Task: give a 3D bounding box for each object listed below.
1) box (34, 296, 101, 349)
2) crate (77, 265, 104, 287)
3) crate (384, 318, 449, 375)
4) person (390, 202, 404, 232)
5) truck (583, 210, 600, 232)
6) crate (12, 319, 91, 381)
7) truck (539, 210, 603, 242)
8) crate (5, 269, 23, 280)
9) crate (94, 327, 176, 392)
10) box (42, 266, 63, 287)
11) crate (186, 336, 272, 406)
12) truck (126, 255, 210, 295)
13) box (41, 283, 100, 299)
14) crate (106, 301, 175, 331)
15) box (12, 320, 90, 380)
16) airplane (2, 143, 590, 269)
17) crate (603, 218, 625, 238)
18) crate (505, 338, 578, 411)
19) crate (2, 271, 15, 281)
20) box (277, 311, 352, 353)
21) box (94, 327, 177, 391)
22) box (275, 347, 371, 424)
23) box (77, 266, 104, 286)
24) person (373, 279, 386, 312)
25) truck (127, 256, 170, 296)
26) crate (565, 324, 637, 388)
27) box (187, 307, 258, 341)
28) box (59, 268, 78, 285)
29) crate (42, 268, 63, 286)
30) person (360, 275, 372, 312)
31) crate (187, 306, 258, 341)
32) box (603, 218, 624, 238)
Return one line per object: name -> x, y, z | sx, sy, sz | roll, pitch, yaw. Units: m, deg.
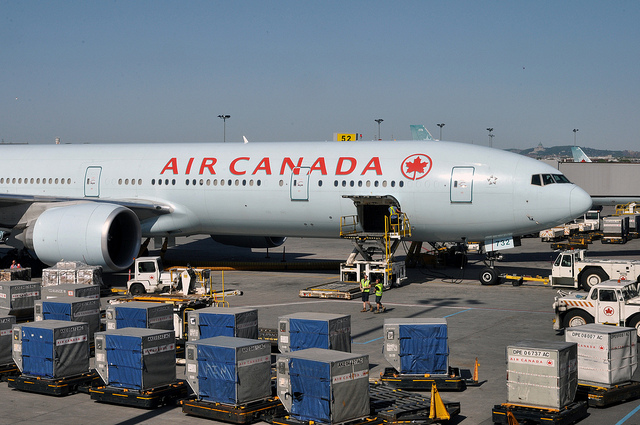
box -> -8.849, 3.922, 30.936 | 2.325, 1.698, 2.048 | -1, -4, 7
crate -> -9.812, 2.717, 37.399 | 1.015, 0.527, 0.911 | 0, 3, 8
crate -> 3.165, 4.087, 28.138 | 2.786, 1.791, 1.642 | 0, 4, 5
person -> 3.468, 0.222, 39.265 | 0.570, 0.990, 0.461 | -2, -1, 10
truck -> 19.480, 0.665, 62.571 | 1.985, 1.311, 2.593 | 1, 6, 20
crate -> -8.442, 4.340, 27.988 | 2.110, 1.521, 2.063 | -2, -3, 41
truck -> 17.831, 0.952, 62.841 | 4.853, 1.270, 1.638 | -10, 6, 13
crate -> -13.296, 2.718, 38.106 | 0.936, 0.384, 0.574 | -1, 4, -20
crate -> -5.499, 4.500, 26.996 | 2.196, 1.315, 2.124 | 1, 1, 34
box -> -11.470, 2.749, 37.624 | 1.088, 0.859, 0.732 | -3, -7, 15
crate -> -2.621, 4.703, 25.968 | 1.908, 2.129, 1.615 | 0, 0, 26
truck -> -6.318, 2.832, 37.816 | 4.310, 1.495, 1.475 | 0, 1, 34
box -> -9.223, 2.938, 32.620 | 1.333, 0.504, 0.883 | 0, -2, 4
crate -> -6.060, 3.628, 30.016 | 2.110, 0.806, 1.482 | -2, 0, 32
box -> -8.421, 4.361, 27.438 | 2.217, 1.688, 1.041 | -2, -1, -8
airplane -> 4.790, -0.710, 66.855 | 29.650, 6.307, 60.411 | -2, -1, 16
crate -> 20.209, 1.208, 59.744 | 1.302, 1.274, 2.138 | -2, 1, 32
crate -> 6.493, 4.736, 26.001 | 2.207, 1.685, 1.990 | 0, 1, 19
crate -> -13.525, 2.732, 38.136 | 0.674, 0.523, 0.422 | 0, -4, -10
box -> -0.167, 3.860, 27.825 | 3.407, 1.363, 0.607 | 2, 1, -8
box -> -5.788, 4.444, 26.703 | 2.177, 1.361, 2.143 | -1, -1, 39
box -> 0.208, 4.913, 25.011 | 2.033, 2.174, 1.801 | 0, 0, 32
box -> -9.824, 2.702, 37.377 | 0.986, 0.529, 0.881 | 1, 2, 9
person -> 2.426, 3.420, 35.491 | 0.442, 1.198, 1.267 | -2, -1, 3
truck -> -7.185, 2.737, 38.326 | 2.206, 1.289, 1.394 | 1, -2, 5
crate -> 8.653, 4.419, 27.176 | 2.090, 1.686, 2.066 | 0, 0, 40
box -> -2.947, 3.682, 29.114 | 1.576, 0.767, 1.427 | -1, -4, 20
box -> -10.653, 2.710, 37.169 | 0.822, 0.645, 0.544 | 0, -1, 6
crate -> -11.449, 2.783, 37.442 | 0.907, 0.536, 0.804 | 0, 4, 4
person -> 1.889, 3.383, 35.889 | 0.508, 1.299, 1.483 | -2, -1, 2
crate -> -3.151, 3.667, 28.501 | 2.998, 1.174, 0.649 | 2, 0, -6
box -> 20.032, 1.057, 59.682 | 1.506, 1.058, 1.374 | -2, -1, 19
